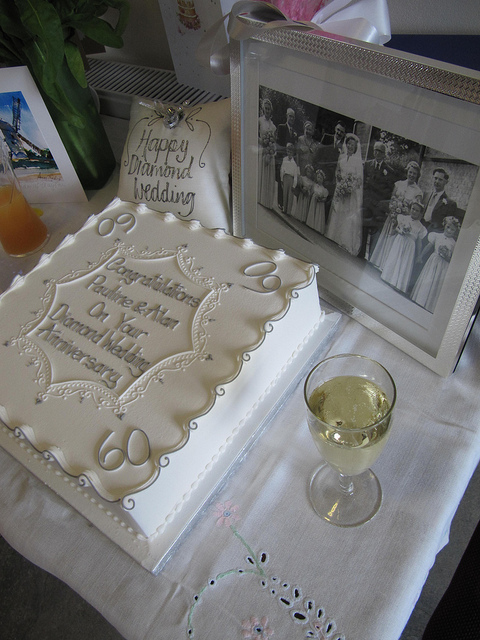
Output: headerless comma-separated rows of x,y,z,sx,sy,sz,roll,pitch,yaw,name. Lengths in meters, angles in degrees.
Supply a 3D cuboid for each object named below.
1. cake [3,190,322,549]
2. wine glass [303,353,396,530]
-0.146,0.013,0.602,0.402,0.148,0.366,22,46,28,cake
0.107,0.119,0.476,0.083,0.162,0.082,-8,57,-8,wine glass
